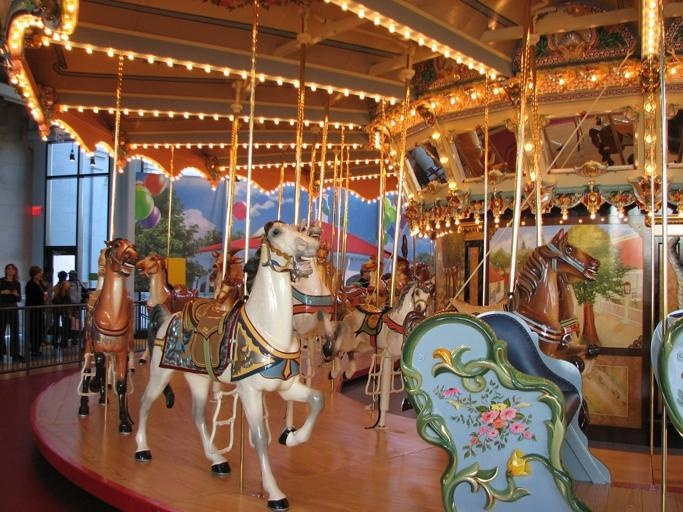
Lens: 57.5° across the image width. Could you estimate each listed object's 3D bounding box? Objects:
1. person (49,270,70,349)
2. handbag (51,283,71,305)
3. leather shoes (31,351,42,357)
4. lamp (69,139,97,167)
[{"bbox_3d":[-5.302,1.091,11.766,0.304,1.110,1.913,1,1,-25],"label":"person"},{"bbox_3d":[-5.629,0.763,12.524,0.348,0.432,0.212,-1,-13,-4],"label":"handbag"},{"bbox_3d":[-5.308,1.709,10.834,0.137,0.052,0.147,-1,-3,10],"label":"leather shoes"},{"bbox_3d":[-7.516,-3.001,18.055,0.698,0.778,1.906,1,1,-24],"label":"lamp"}]
